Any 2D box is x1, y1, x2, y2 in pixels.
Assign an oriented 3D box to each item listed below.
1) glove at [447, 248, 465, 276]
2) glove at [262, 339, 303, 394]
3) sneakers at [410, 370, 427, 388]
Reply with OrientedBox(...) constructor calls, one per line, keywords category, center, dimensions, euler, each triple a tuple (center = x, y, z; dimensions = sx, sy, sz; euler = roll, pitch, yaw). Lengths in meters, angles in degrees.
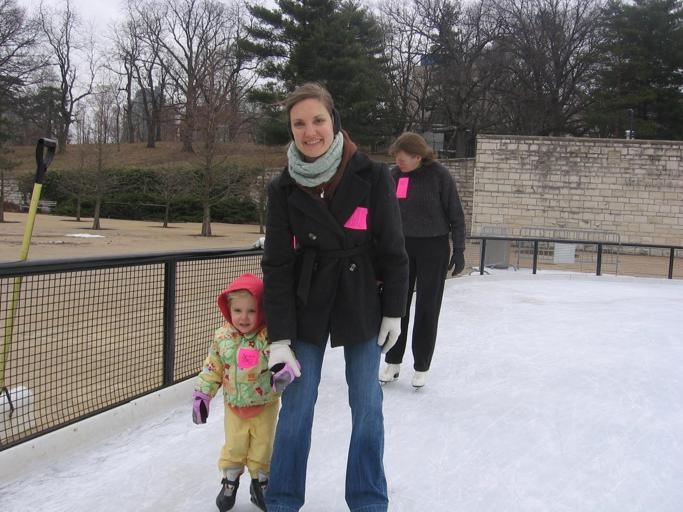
OrientedBox(category="glove", center=(0.967, 0.075, 4.568), dimensions=(0.182, 0.280, 0.082), euler=(-9, -20, 39))
OrientedBox(category="glove", center=(-0.271, 0.497, 2.558), dimensions=(0.167, 0.236, 0.101), euler=(-11, 2, -26))
OrientedBox(category="sneakers", center=(0.590, 0.928, 4.170), dimensions=(0.091, 0.135, 0.297), euler=(-1, -8, 8))
